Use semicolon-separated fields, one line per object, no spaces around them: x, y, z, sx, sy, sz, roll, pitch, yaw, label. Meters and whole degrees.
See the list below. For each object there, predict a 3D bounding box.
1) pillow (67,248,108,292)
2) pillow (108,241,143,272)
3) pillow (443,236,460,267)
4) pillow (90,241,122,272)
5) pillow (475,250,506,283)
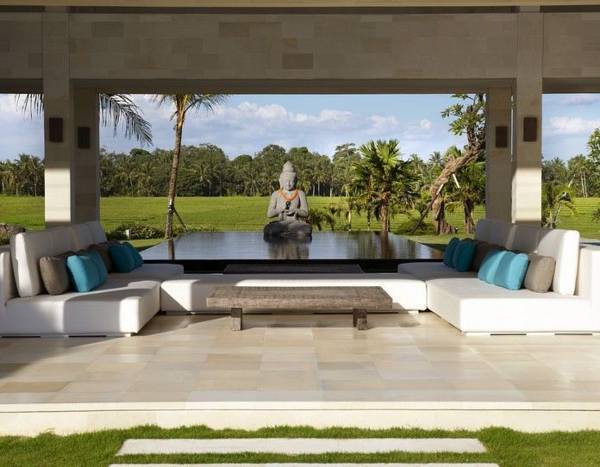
-2.412;0.416;6.461;0.206;0.406;0.618;-10;7;-15;pillow
-2.208;0.295;7.475;0.215;0.394;0.617;-28;-1;2;pillow
2.013;0.239;7.669;0.121;0.343;0.314;5;3;0;pillow
-2.357;0.250;7.090;0.114;0.330;0.314;-14;-22;13;pillow
2.136;0.356;6.548;0.091;0.336;0.310;18;-2;-12;pillow
